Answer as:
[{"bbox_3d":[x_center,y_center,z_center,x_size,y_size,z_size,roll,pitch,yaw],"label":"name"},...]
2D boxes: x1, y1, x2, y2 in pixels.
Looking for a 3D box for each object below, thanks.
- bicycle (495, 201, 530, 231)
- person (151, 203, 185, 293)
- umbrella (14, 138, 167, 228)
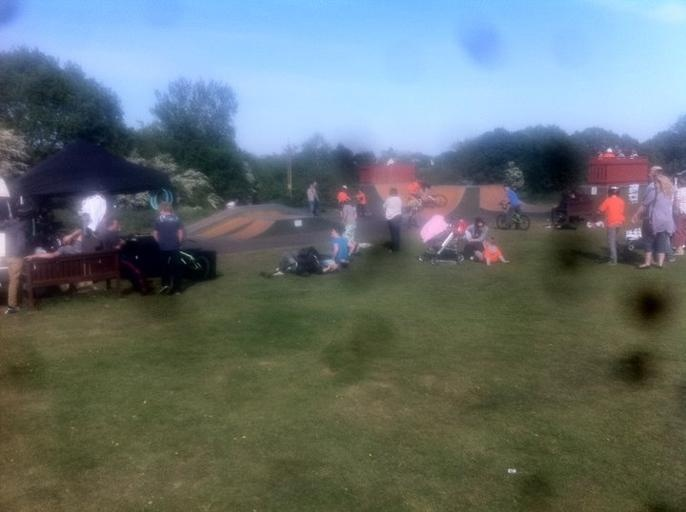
[{"bbox_3d":[6.910,-1.620,23.681,0.970,1.201,1.776,-13,12,-23],"label":"bicycle"},{"bbox_3d":[-3.716,-0.172,12.113,0.602,1.951,0.496,-1,4,-19],"label":"person"},{"bbox_3d":[-6.149,-1.944,13.493,2.449,1.209,2.500,-7,14,-21],"label":"umbrella"}]
